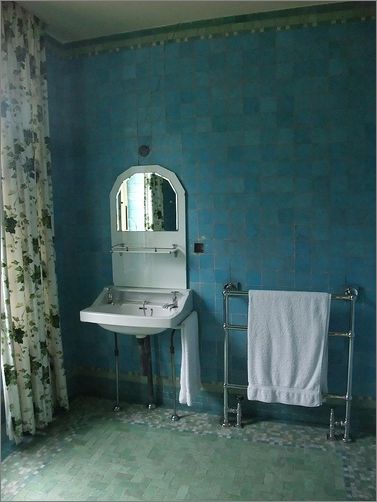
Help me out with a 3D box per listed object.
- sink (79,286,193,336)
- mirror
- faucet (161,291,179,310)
[{"bbox_3d":[-0.330,0.385,2.882,0.638,0.220,0.507,1,10,13],"label":"sink"},{"bbox_3d":[-0.274,-0.305,3.028,0.585,0.454,0.010,5,8,34],"label":"mirror"},{"bbox_3d":[-0.117,0.312,2.935,0.096,0.100,0.159,-2,10,-2],"label":"faucet"}]
